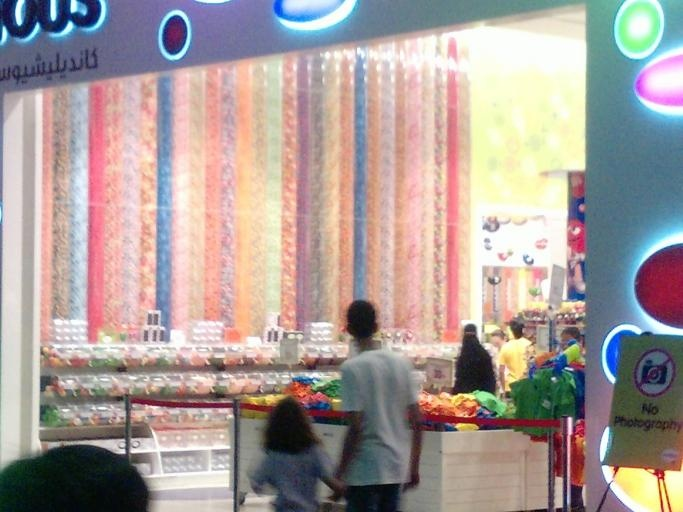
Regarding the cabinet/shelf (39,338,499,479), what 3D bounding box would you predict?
[{"bbox_3d":[-0.610,1.120,7.870,5.294,0.872,1.031,2,-6,-17],"label":"cabinet/shelf"}]
